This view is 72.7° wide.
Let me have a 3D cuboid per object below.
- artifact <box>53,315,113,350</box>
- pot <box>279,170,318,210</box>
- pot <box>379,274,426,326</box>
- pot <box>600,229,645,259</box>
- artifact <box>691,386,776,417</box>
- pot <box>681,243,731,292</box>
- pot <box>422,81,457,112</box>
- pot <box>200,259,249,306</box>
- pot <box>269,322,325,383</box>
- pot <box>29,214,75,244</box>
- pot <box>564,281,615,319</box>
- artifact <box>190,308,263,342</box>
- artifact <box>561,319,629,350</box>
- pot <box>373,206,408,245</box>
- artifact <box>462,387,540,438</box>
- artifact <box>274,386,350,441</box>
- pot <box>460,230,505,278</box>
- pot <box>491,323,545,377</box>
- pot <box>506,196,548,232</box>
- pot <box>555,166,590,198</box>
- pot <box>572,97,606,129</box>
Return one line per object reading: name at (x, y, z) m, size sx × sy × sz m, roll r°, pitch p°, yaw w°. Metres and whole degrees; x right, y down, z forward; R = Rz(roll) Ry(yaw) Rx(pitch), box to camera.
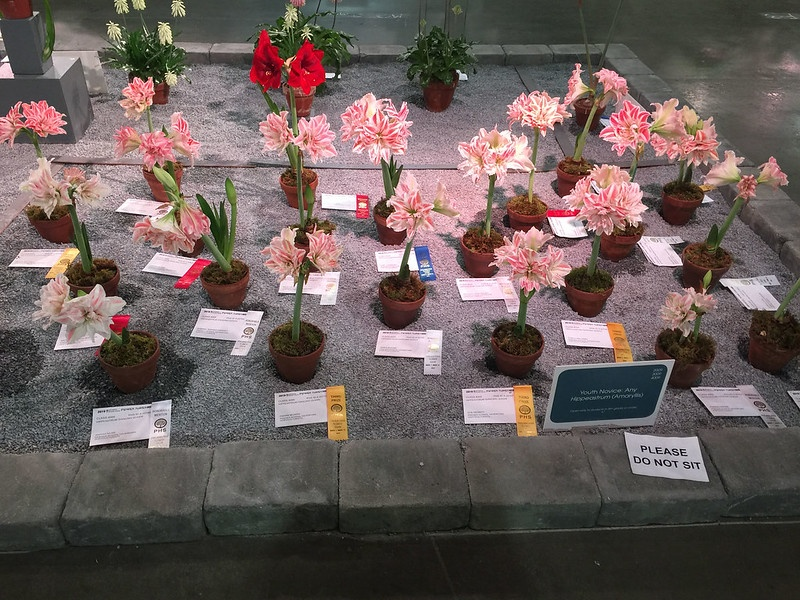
artifact at (-1.604, 0.186, 2.725) m, size 0.244 × 0.045 × 0.165 m, roll -1°, pitch 37°, yaw -6°
pot at (-0.628, -0.725, 3.432) m, size 0.272 × 0.203 × 0.267 m, roll 1°, pitch 42°, yaw -1°
pot at (0.013, 0.007, 2.856) m, size 0.258 × 0.232 × 0.262 m, roll 3°, pitch 34°, yaw -2°
pot at (1.292, -0.313, 3.216) m, size 0.196 × 0.143 × 0.193 m, roll 0°, pitch 40°, yaw 0°
artifact at (1.581, 0.493, 2.594) m, size 0.336 × 0.047 × 0.158 m, roll 1°, pitch 37°, yaw -4°
pot at (1.725, -0.184, 3.121) m, size 0.249 × 0.174 × 0.246 m, roll 15°, pitch 22°, yaw -6°
pot at (0.339, -1.698, 4.529) m, size 0.258 × 0.202 × 0.253 m, roll 0°, pitch 53°, yaw 0°
pot at (-0.907, -0.080, 2.869) m, size 0.244 × 0.175 × 0.240 m, roll 1°, pitch 46°, yaw -1°
pot at (-0.478, 0.245, 2.617) m, size 0.282 × 0.224 × 0.277 m, roll 2°, pitch 35°, yaw -1°
pot at (-1.975, -0.405, 3.100) m, size 0.138 × 0.101 × 0.136 m, roll 4°, pitch 39°, yaw -3°
pot at (0.989, 0.016, 2.922) m, size 0.217 × 0.157 × 0.215 m, roll 0°, pitch 44°, yaw 0°
artifact at (-0.887, 0.133, 2.799) m, size 0.321 × 0.067 × 0.178 m, roll 6°, pitch 37°, yaw 3°
artifact at (0.978, 0.184, 2.847) m, size 0.249 × 0.054 × 0.162 m, roll 3°, pitch 37°, yaw 0°
pot at (-0.080, -0.432, 3.265) m, size 0.199 × 0.145 × 0.196 m, roll 3°, pitch 46°, yaw -3°
artifact at (0.463, 0.507, 2.504) m, size 0.339 × 0.109 × 0.207 m, roll 4°, pitch 37°, yaw 0°
artifact at (-0.400, 0.523, 2.456) m, size 0.324 × 0.084 × 0.246 m, roll -1°, pitch 37°, yaw -7°
pot at (0.465, -0.289, 3.074) m, size 0.266 × 0.186 × 0.262 m, roll 0°, pitch 37°, yaw 0°
pot at (0.590, 0.238, 2.678) m, size 0.260 × 0.171 × 0.259 m, roll 1°, pitch 40°, yaw -1°
pot at (0.789, -0.538, 3.337) m, size 0.231 × 0.141 × 0.236 m, roll 0°, pitch 37°, yaw 0°
pot at (1.133, -0.788, 3.650) m, size 0.241 × 0.176 × 0.237 m, roll -1°, pitch 42°, yaw 1°
pot at (1.519, -1.521, 4.490) m, size 0.296 × 0.215 × 0.291 m, roll -3°, pitch 39°, yaw 2°
